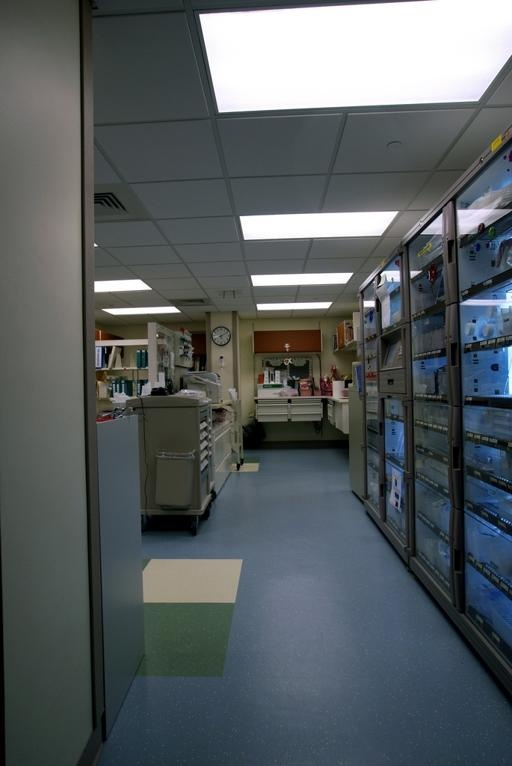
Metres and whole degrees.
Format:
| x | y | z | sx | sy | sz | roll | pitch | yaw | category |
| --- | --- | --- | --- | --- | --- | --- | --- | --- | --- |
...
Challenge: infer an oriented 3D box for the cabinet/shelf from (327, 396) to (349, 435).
| x | y | z | sx | sy | sz | roll | pitch | yaw | category |
| --- | --- | --- | --- | --- | --- | --- | --- | --- | --- |
| 1.046 | 0.385 | 6.417 | 0.173 | 0.404 | 1.499 | -1 | 1 | 6 | cabinet/shelf |

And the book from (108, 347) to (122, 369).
| x | y | z | sx | sy | sz | roll | pitch | yaw | category |
| --- | --- | --- | --- | --- | --- | --- | --- | --- | --- |
| -1.824 | -0.317 | 6.596 | 0.048 | 0.242 | 0.240 | 5 | 2 | -1 | book |

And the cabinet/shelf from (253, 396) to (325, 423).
| x | y | z | sx | sy | sz | roll | pitch | yaw | category |
| --- | --- | --- | --- | --- | --- | --- | --- | --- | --- |
| 0.457 | 0.372 | 7.210 | 0.943 | 0.327 | 0.161 | -1 | 1 | 9 | cabinet/shelf |

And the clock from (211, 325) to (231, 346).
| x | y | z | sx | sy | sz | roll | pitch | yaw | category |
| --- | --- | --- | --- | --- | --- | --- | --- | --- | --- |
| -0.499 | -0.674 | 7.227 | 0.208 | 0.266 | 0.038 | 3 | 2 | 8 | clock |

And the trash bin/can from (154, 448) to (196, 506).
| x | y | z | sx | sy | sz | roll | pitch | yaw | category |
| --- | --- | --- | --- | --- | --- | --- | --- | --- | --- |
| -0.528 | 0.623 | 3.442 | 0.254 | 0.457 | 0.302 | 0 | -2 | 2 | trash bin/can |
